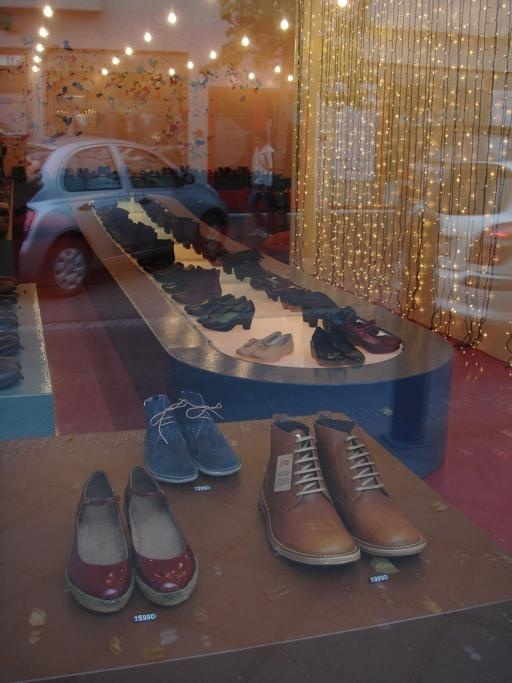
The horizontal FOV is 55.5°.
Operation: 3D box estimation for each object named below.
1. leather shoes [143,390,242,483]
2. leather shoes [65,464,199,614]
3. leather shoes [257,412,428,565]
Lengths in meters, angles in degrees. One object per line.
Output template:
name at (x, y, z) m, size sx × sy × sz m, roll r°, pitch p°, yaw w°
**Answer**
leather shoes at (-0.112, 0.129, 0.735) m, size 0.094 × 0.053 × 0.146 m, roll -4°, pitch 21°, yaw -22°
leather shoes at (-0.148, 0.217, 0.560) m, size 0.139 × 0.051 × 0.189 m, roll 0°, pitch 26°, yaw -28°
leather shoes at (0.092, 0.173, 0.612) m, size 0.169 × 0.106 × 0.254 m, roll -4°, pitch 11°, yaw -14°
